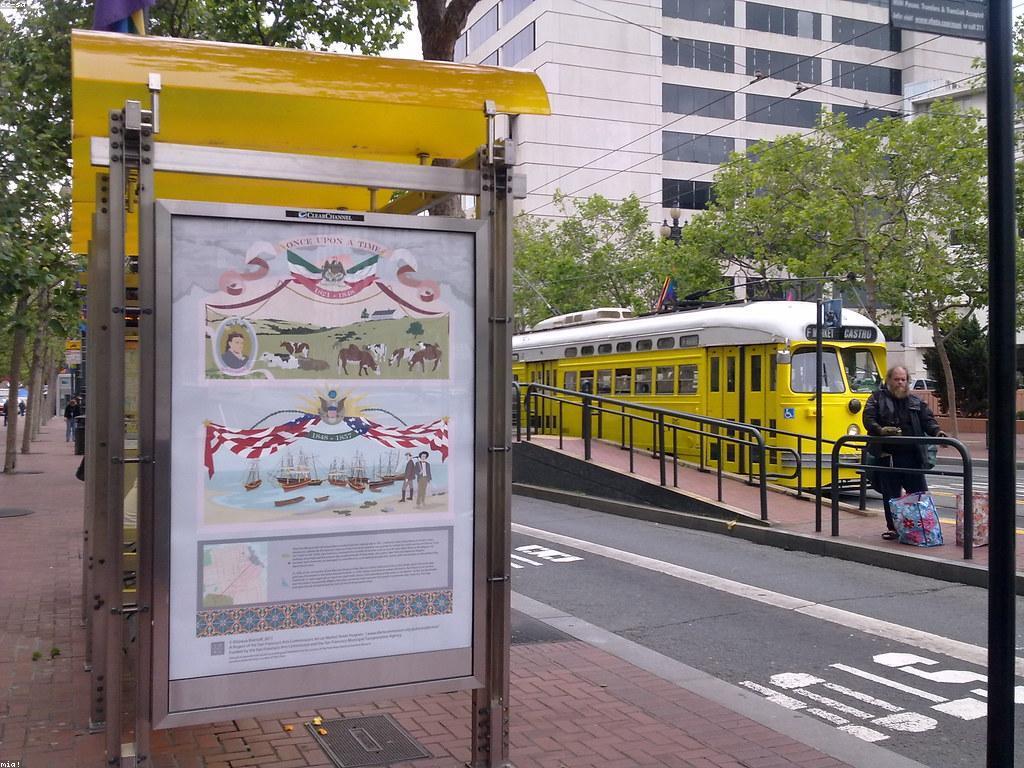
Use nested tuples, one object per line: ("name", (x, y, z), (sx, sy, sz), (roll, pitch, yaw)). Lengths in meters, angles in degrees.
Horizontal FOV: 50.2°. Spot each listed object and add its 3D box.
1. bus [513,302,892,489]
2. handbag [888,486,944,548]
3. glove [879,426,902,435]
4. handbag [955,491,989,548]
("bus", (3.868, 0.019, 21.937), (2.925, 3.320, 11.698), (1, -3, -26))
("handbag", (4.540, 1.530, 12.364), (0.386, 0.642, 0.637), (-14, 2, -44))
("glove", (4.301, 0.536, 12.377), (0.107, 0.079, 0.143), (1, -13, 6))
("handbag", (5.060, 1.492, 12.018), (0.298, 0.690, 1.000), (2, 5, 21))
